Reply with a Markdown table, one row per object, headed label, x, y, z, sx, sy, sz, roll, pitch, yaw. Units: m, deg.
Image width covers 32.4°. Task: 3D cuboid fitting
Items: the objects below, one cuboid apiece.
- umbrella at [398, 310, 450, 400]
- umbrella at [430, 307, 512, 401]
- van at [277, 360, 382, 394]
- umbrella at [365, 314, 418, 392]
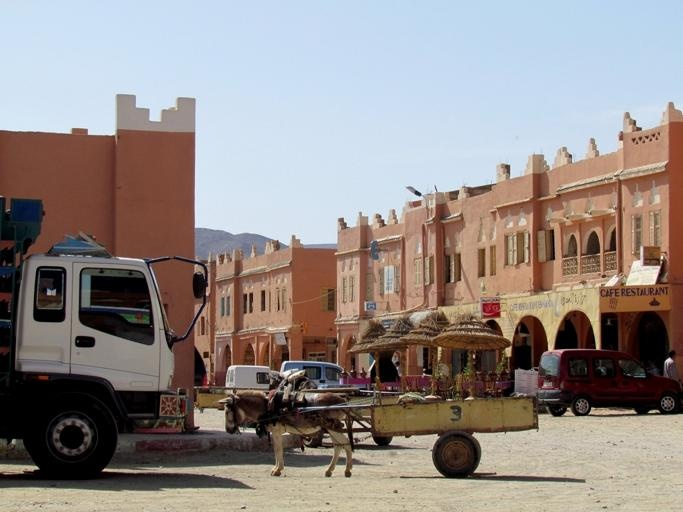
| label | x | y | z | sx | sy | sz | roll | pitch | yaw |
| --- | --- | --- | --- | --- | --- | --- | --- | --- | --- |
| umbrella | 2.999 | 3.396 | 41.388 | 2.375 | 3.515 | 2.412 | -2 | -9 | -5 |
| umbrella | 3.810 | 2.406 | 34.443 | 1.646 | 2.849 | 1.717 | -2 | -3 | -29 |
| van | -0.288 | 4.273 | 38.595 | 3.330 | 1.816 | 1.484 | -1 | -1 | -10 |
| umbrella | 1.611 | 3.141 | 38.481 | 1.096 | 2.544 | 1.213 | -1 | -5 | -30 |
